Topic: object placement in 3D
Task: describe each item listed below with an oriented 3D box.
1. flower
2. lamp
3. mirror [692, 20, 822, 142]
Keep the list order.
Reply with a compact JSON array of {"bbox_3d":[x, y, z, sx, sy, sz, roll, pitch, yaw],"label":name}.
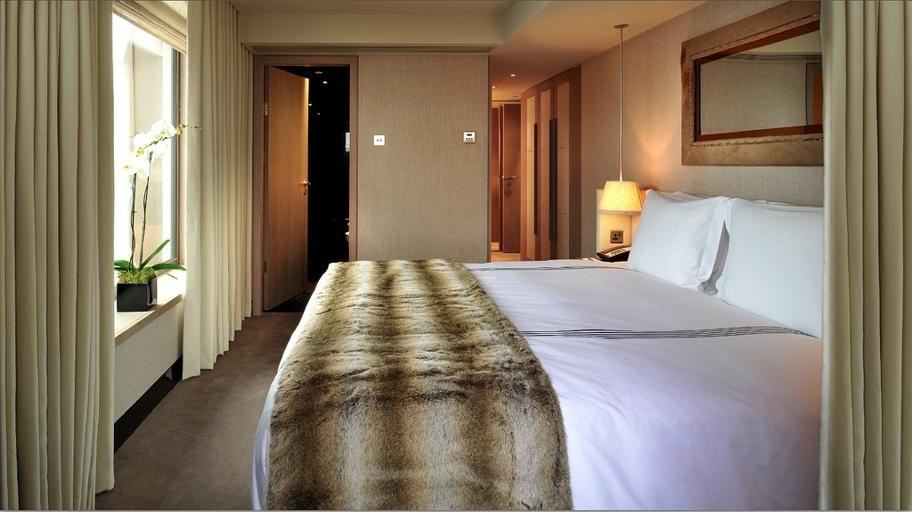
[{"bbox_3d":[-2.309,-0.393,4.412,0.499,1.279,1.243,-1,10,-23],"label":"flower"},{"bbox_3d":[1.602,-1.255,5.463,0.376,1.726,0.929,5,10,12],"label":"lamp"},{"bbox_3d":[2.145,-1.147,4.146,1.185,0.570,0.026,-8,11,-21],"label":"mirror"}]
